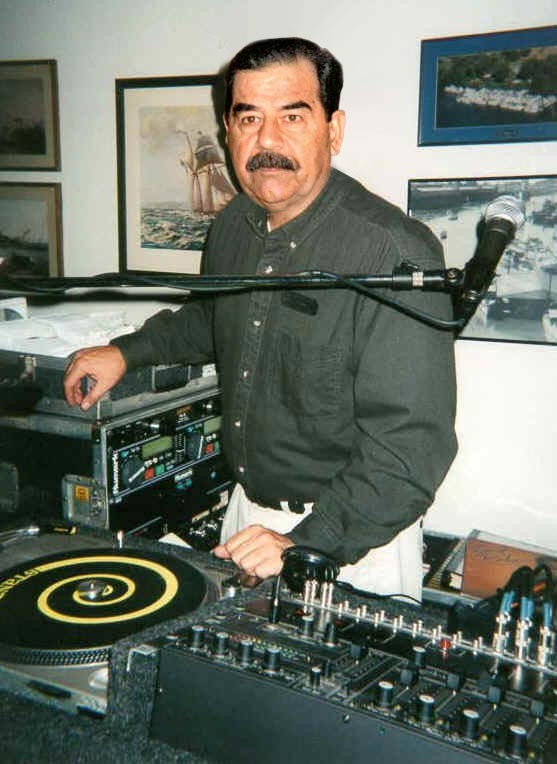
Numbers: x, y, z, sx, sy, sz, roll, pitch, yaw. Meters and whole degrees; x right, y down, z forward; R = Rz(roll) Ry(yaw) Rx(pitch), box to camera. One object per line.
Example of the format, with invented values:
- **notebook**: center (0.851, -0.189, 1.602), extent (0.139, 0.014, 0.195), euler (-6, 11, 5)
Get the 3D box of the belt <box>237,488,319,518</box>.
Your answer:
- **belt**: center (0.006, 0.270, 1.573), extent (0.136, 0.029, 0.114), euler (2, -3, 13)
